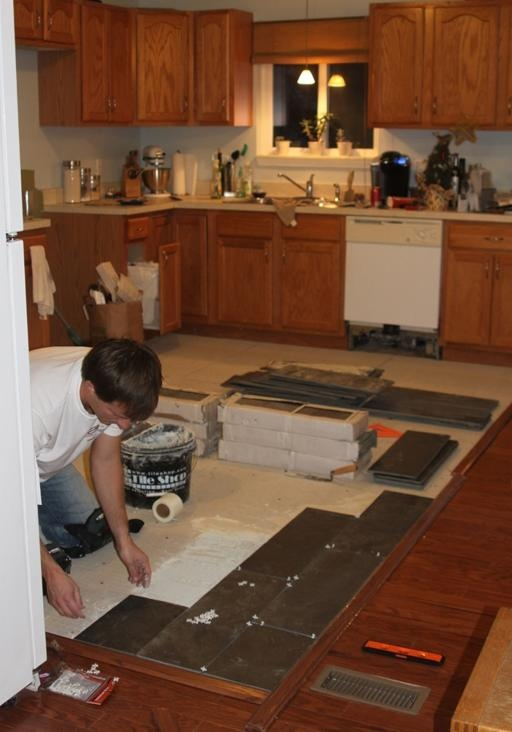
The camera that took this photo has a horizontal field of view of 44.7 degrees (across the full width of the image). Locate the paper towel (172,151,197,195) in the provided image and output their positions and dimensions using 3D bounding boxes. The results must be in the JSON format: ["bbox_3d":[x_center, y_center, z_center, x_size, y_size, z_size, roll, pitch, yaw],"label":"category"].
[{"bbox_3d":[-0.717,-1.903,6.255,0.293,0.358,0.222,-9,4,-4],"label":"paper towel"}]

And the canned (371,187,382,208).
[{"bbox_3d":[1.023,-1.438,5.348,0.077,0.227,0.141,5,31,15],"label":"canned"}]

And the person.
[{"bbox_3d":[-0.536,0.341,2.005,0.397,0.768,0.940,-11,5,-22],"label":"person"}]

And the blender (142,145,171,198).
[{"bbox_3d":[-0.997,-1.908,6.139,0.255,0.414,0.517,-10,4,-5],"label":"blender"}]

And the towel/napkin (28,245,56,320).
[{"bbox_3d":[-1.512,-0.591,4.374,0.134,0.483,0.274,-9,4,2],"label":"towel/napkin"}]

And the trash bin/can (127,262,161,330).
[{"bbox_3d":[-0.921,-0.596,5.283,0.265,0.498,0.156,-10,4,-10],"label":"trash bin/can"}]

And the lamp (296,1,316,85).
[{"bbox_3d":[0.437,-2.931,5.732,0.214,0.568,0.454,-9,4,6],"label":"lamp"}]

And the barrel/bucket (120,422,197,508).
[{"bbox_3d":[-0.470,0.423,2.866,0.347,0.280,0.327,1,17,0],"label":"barrel/bucket"}]

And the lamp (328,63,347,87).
[{"bbox_3d":[0.739,-2.650,5.747,0.216,0.120,0.213,-8,17,-22],"label":"lamp"}]

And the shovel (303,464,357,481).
[{"bbox_3d":[0.387,0.531,3.080,0.203,0.049,0.106,-9,-8,28],"label":"shovel"}]

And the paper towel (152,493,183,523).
[{"bbox_3d":[-0.369,0.582,2.670,0.126,0.116,0.134,7,6,15],"label":"paper towel"}]
